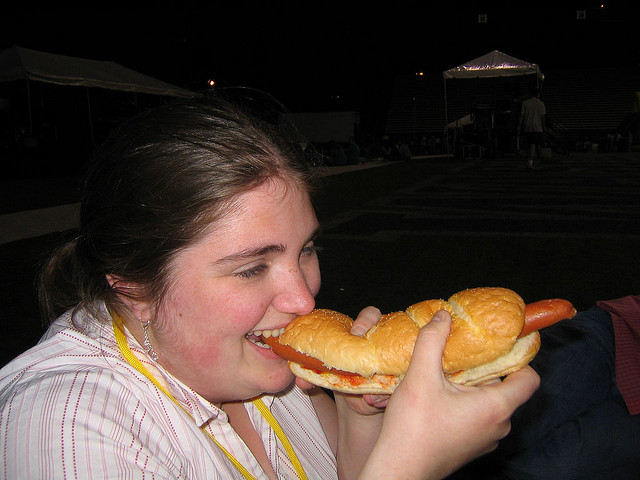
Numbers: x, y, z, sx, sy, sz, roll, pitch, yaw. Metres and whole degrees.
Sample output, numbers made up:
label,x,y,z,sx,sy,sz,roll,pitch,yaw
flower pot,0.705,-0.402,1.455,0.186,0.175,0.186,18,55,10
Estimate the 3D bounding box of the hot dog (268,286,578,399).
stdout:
label,x,y,z,sx,sy,sz,roll,pitch,yaw
hot dog,0.334,0.379,1.772,1.038,0.333,0.507,-9,-4,12
